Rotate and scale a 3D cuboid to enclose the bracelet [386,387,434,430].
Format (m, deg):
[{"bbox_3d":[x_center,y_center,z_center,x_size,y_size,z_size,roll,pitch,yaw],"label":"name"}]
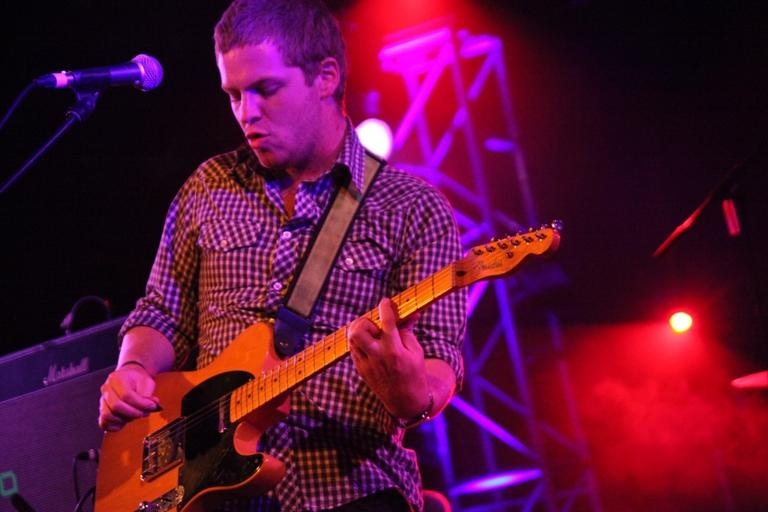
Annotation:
[{"bbox_3d":[0.068,0.835,3.890,0.240,0.134,0.333,-7,-5,24],"label":"bracelet"}]
